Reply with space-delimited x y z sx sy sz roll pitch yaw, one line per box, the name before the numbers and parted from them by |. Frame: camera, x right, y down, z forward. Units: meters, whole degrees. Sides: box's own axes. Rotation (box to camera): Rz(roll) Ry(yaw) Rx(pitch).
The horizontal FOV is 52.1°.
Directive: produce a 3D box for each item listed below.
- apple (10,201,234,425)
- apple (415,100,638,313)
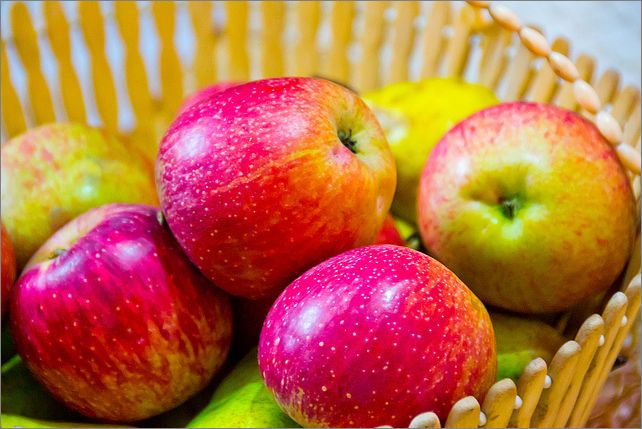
apple | -0.273 0.096 0.958 0.279 0.272 0.279 -15 23 -26
apple | 0.284 -0.008 0.915 0.293 0.221 0.180 14 45 8
